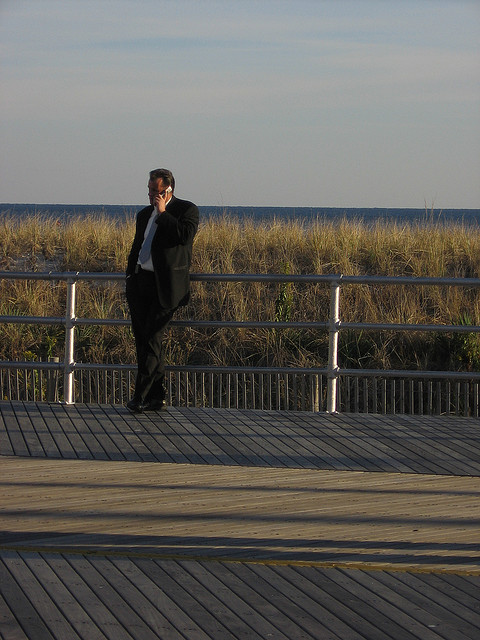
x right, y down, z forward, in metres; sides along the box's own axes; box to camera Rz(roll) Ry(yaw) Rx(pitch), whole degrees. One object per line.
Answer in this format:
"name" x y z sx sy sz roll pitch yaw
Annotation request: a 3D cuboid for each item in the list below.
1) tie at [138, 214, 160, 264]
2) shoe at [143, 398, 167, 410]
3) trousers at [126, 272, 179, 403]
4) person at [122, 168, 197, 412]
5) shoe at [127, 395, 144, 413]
"tie" -0.465 -0.415 7.087 0.073 0.250 0.122 7 11 37
"shoe" -0.445 0.450 7.147 0.122 0.069 0.049 5 -3 -3
"trousers" -0.465 0.095 7.145 0.254 0.668 0.296 0 9 -7
"person" -0.419 -0.157 7.171 0.374 1.268 0.478 0 9 -5
"shoe" -0.536 0.439 7.038 0.086 0.086 0.065 -1 10 -11
